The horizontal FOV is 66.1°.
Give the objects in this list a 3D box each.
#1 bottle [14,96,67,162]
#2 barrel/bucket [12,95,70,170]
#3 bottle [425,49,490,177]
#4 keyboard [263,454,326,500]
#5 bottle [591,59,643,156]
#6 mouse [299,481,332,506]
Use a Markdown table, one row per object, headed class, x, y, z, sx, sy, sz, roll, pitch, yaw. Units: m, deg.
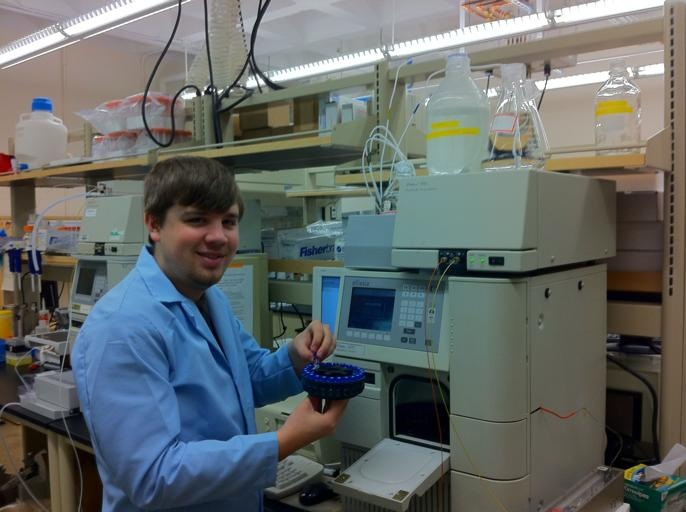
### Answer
| class | x | y | z | sx | sy | sz | roll | pitch | yaw |
| --- | --- | --- | --- | --- | --- | --- | --- | --- | --- |
| bottle | -2.070 | -0.822 | 3.618 | 0.241 | 0.480 | 0.302 | 1 | 1 | 37 |
| barrel/bucket | -2.072 | -0.817 | 3.614 | 0.232 | 0.475 | 0.297 | 2 | 3 | 32 |
| bottle | 0.336 | -0.407 | 1.551 | 0.184 | 0.357 | 0.192 | -2 | 3 | 0 |
| keyboard | -0.152 | 0.683 | 1.642 | 0.176 | 0.045 | 0.175 | -10 | 4 | -44 |
| bottle | 0.912 | -0.462 | 1.779 | 0.146 | 0.389 | 0.140 | 1 | -2 | 0 |
| mouse | -0.081 | 0.701 | 1.569 | 0.078 | 0.031 | 0.050 | -2 | 6 | -20 |
